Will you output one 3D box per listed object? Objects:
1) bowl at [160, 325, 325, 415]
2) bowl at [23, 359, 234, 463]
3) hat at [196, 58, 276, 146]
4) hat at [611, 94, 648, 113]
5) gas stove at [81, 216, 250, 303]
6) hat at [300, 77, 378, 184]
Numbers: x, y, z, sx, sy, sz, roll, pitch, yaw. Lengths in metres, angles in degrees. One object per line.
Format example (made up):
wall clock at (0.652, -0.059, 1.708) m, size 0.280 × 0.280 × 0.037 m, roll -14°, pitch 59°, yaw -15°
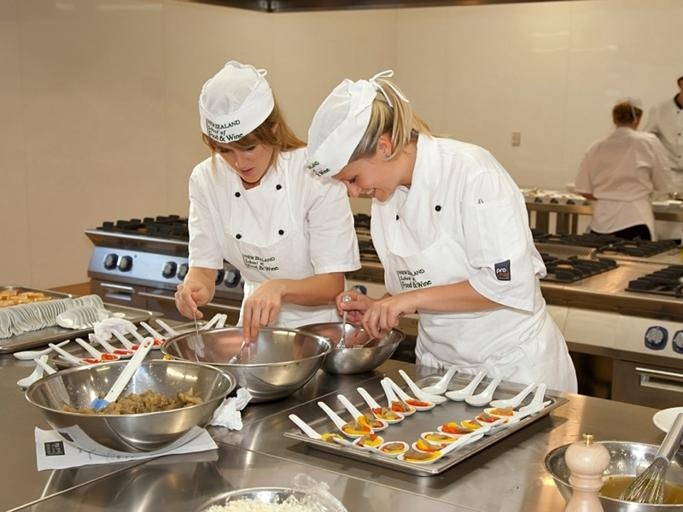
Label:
bowl at (-0.228, 0.267, 1.318) m, size 0.267 × 0.088 × 0.256 m, roll 2°, pitch 7°, yaw 0°
bowl at (-0.433, 0.313, 1.061) m, size 0.411 × 0.132 × 0.313 m, roll 0°, pitch 10°, yaw 1°
hat at (-0.325, -0.483, 1.572) m, size 0.201 × 0.264 × 0.172 m, roll -7°, pitch 13°, yaw -32°
hat at (1.875, -1.003, 3.308) m, size 0.129 × 0.063 × 0.120 m, roll -4°, pitch 21°, yaw -13°
gas stove at (-1.166, 0.027, 3.372) m, size 0.942 × 0.597 × 0.647 m, roll 0°, pitch -1°, yaw 29°
hat at (-0.002, -0.344, 1.364) m, size 0.182 × 0.256 × 0.177 m, roll 3°, pitch 11°, yaw 17°
